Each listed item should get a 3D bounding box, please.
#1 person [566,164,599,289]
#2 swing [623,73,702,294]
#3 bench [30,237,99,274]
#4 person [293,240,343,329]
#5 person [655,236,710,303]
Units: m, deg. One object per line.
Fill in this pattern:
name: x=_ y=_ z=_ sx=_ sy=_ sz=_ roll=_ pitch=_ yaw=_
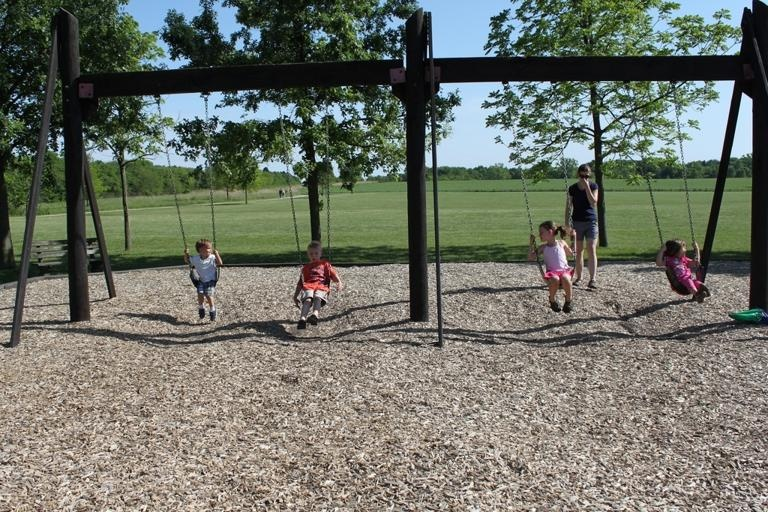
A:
person: x=3.086 y=-0.492 z=11.648 sx=0.705 sy=1.975 sz=0.893 roll=1 pitch=0 yaw=6
swing: x=6.373 y=-1.506 z=17.353 sx=2.198 sy=5.866 sz=1.447 roll=1 pitch=-2 yaw=0
bench: x=-6.686 y=-0.039 z=15.580 sx=1.258 sy=0.772 sz=2.913 roll=-7 pitch=9 yaw=-25
person: x=-0.973 y=0.386 z=10.313 sx=0.701 sy=1.148 sz=0.671 roll=-5 pitch=-12 yaw=10
person: x=4.242 y=0.130 z=10.592 sx=0.699 sy=0.494 sz=1.021 roll=-8 pitch=49 yaw=1
